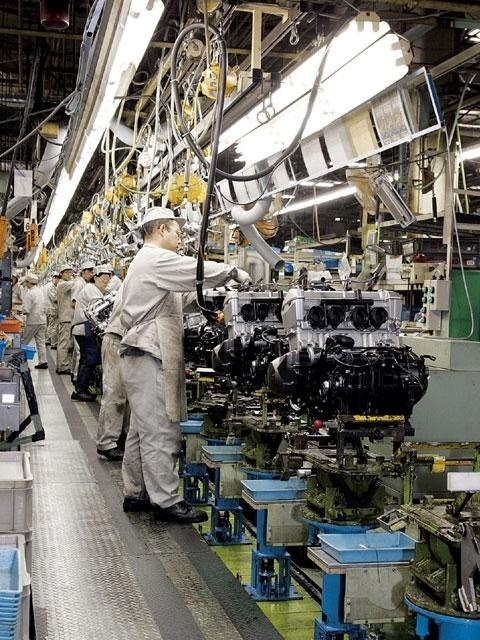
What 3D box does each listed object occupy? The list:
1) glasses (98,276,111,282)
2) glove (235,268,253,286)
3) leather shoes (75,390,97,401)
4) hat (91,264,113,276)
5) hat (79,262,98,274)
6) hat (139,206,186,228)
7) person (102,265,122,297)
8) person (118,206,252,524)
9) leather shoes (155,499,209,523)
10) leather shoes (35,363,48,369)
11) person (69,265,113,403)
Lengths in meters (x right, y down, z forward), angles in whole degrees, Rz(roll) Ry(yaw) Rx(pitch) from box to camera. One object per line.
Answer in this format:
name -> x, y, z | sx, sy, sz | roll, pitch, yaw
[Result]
glasses -> -2.206, -0.676, 8.658 | 0.095, 0.096, 0.032 | 10, 3, -40
glove -> 0.023, -0.267, 3.386 | 0.063, 0.076, 0.318 | 6, -6, 9
leather shoes -> -2.487, 1.243, 8.549 | 0.358, 0.144, 0.129 | 0, 4, -11
hat -> -2.257, -0.819, 8.741 | 0.241, 0.150, 0.340 | -1, 2, -20
hat -> -2.950, -1.039, 10.243 | 0.387, 0.171, 0.543 | -3, -7, -27
hat -> -0.524, -0.728, 3.732 | 0.257, 0.082, 0.179 | -2, 1, -28
person -> -2.188, -0.665, 9.030 | 0.292, 0.304, 0.869 | 8, 19, 0
person -> -0.419, 0.287, 3.868 | 1.018, 2.141, 0.807 | 0, 3, 3
leather shoes -> -0.377, 1.282, 3.575 | 0.374, 0.164, 0.146 | 2, -1, -4
leather shoes -> -4.590, 1.094, 12.308 | 0.332, 0.137, 0.123 | 5, 8, 27
person -> -2.504, 0.152, 8.684 | 0.837, 2.193, 0.841 | 14, 17, 41
